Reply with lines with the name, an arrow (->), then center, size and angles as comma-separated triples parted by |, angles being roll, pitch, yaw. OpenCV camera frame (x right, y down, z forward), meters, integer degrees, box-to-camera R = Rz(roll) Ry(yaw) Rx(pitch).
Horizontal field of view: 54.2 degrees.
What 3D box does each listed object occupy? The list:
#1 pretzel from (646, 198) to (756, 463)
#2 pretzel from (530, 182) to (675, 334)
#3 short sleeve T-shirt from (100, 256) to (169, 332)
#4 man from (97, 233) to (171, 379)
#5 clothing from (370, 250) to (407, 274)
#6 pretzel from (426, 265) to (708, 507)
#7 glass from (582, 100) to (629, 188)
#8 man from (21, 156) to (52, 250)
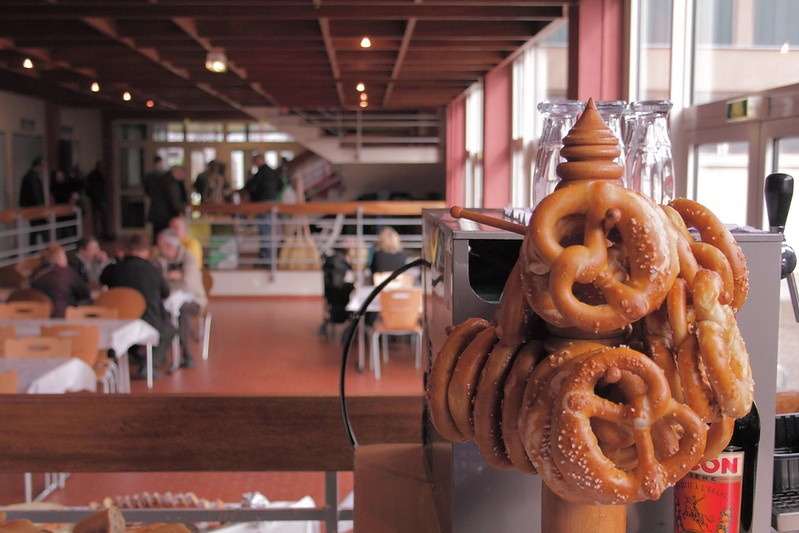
pretzel -> 0.494, 0.105, 1.280 | 0.156, 0.425, 0.171 | 2, 6, 23
pretzel -> 0.316, 0.009, 1.210 | 0.223, 0.241, 0.085 | -7, -6, -4
short sleeve T-shirt -> -1.759, 0.193, 4.925 | 0.506, 0.229, 0.642 | 12, 5, -16
man -> -1.699, 0.223, 5.183 | 0.425, 0.887, 0.410 | 21, 34, 29
clothing -> -0.081, -0.029, 5.744 | 0.183, 0.202, 0.357 | 1, -1, -1
pretzel -> 0.267, 0.219, 1.297 | 0.350, 0.293, 0.122 | 19, 11, 23
glass -> 0.366, -0.235, 1.434 | 0.089, 0.166, 0.367 | 1, 6, 16
man -> -4.431, -0.824, 9.462 | 0.295, 1.018, 1.919 | -3, 6, -25
